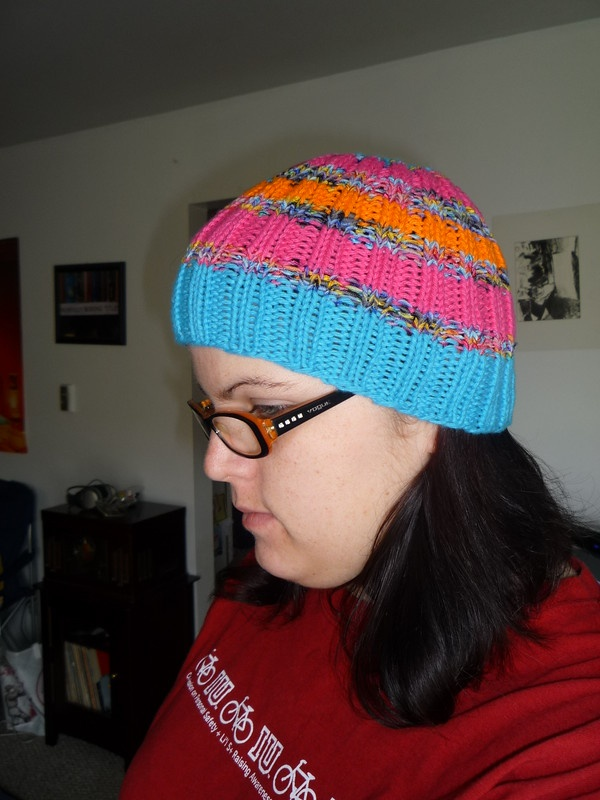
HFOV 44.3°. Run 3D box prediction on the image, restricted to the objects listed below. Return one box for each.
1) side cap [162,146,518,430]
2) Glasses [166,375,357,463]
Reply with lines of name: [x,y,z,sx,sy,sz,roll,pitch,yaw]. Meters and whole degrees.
side cap: [0.075,-0.119,1.099,0.429,0.292,0.402,19,1,-24]
Glasses: [-0.058,0.032,1.012,0.146,0.037,0.135,-15,11,-30]
